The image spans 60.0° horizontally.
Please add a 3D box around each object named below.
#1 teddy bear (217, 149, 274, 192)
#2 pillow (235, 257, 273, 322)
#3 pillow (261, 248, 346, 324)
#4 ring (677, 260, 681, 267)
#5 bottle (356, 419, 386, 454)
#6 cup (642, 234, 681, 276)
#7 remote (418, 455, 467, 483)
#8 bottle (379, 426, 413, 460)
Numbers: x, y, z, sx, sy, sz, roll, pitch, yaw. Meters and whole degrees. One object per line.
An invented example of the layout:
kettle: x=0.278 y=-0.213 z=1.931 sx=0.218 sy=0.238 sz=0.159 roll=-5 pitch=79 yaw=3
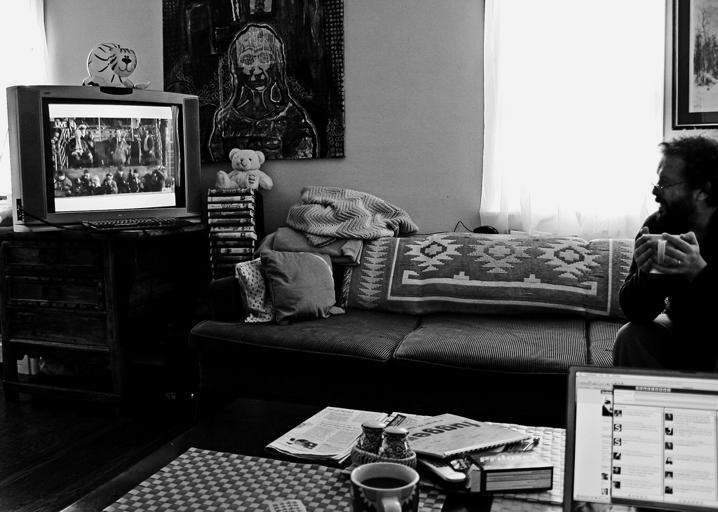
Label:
teddy bear: x=-0.723 y=-0.520 z=3.873 sx=0.316 sy=0.288 sz=0.198 roll=3 pitch=6 yaw=-20
pillow: x=-0.523 y=0.175 z=3.085 sx=0.078 sy=0.257 sz=0.265 roll=-13 pitch=-9 yaw=34
pillow: x=-0.307 y=0.141 z=3.063 sx=0.375 sy=0.343 sz=0.111 roll=1 pitch=-22 yaw=-39
ring: x=1.131 y=0.024 z=2.200 sx=0.020 sy=0.020 sz=0.005 roll=-5 pitch=-15 yaw=33
bottle: x=0.031 y=0.487 z=1.665 sx=0.072 sy=0.100 sz=0.070 roll=8 pitch=0 yaw=0
cup: x=1.068 y=-0.005 z=2.212 sx=0.132 sy=0.206 sz=0.126 roll=-1 pitch=-4 yaw=0
remote: x=0.226 y=0.579 z=1.682 sx=0.044 sy=0.034 sz=0.145 roll=-11 pitch=19 yaw=-34
bottle: x=0.097 y=0.486 z=1.623 sx=0.077 sy=0.075 sz=0.076 roll=1 pitch=-2 yaw=-2
